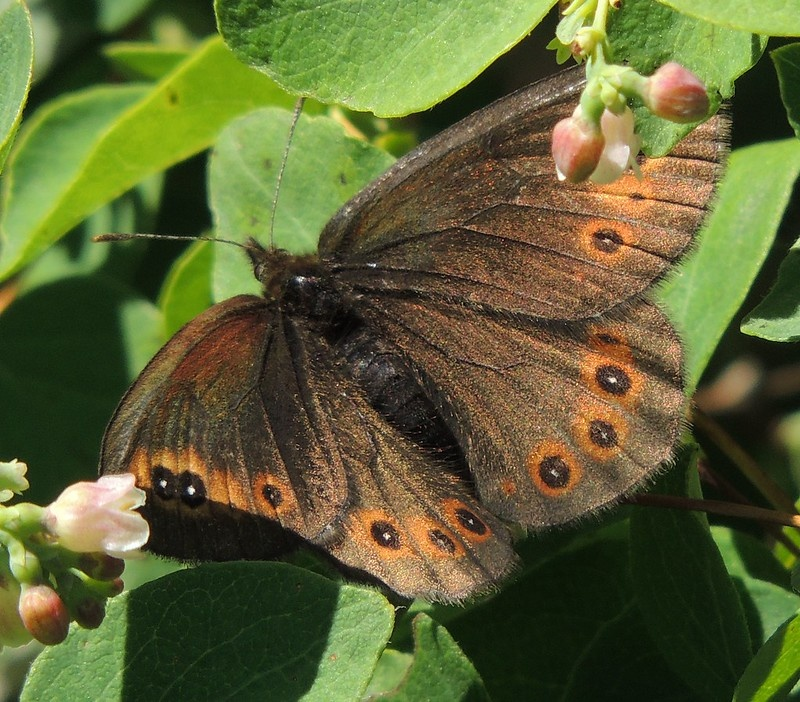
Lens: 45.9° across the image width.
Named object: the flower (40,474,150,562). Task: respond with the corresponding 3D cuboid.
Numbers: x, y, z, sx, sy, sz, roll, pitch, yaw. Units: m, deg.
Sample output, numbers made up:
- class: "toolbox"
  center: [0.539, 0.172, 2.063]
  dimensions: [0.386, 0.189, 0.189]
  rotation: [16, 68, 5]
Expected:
- class: "flower"
  center: [-0.550, 0.307, 1.715]
  dimensions: [0.171, 0.108, 0.146]
  rotation: [-22, 58, 9]
